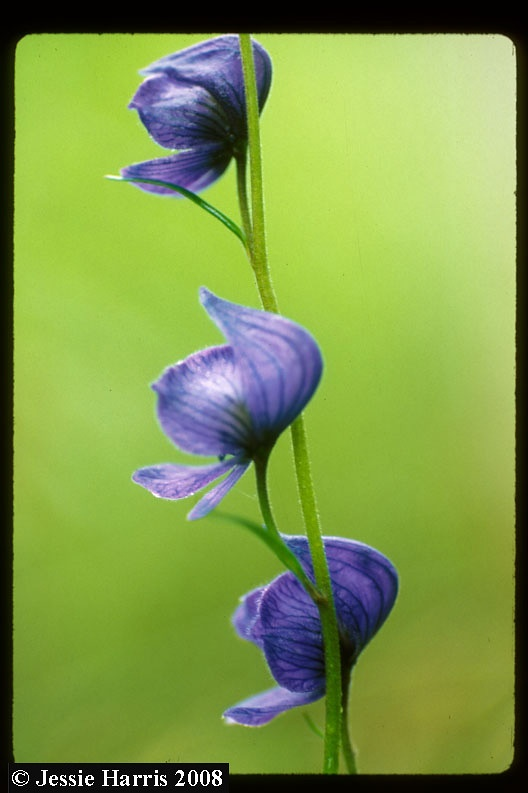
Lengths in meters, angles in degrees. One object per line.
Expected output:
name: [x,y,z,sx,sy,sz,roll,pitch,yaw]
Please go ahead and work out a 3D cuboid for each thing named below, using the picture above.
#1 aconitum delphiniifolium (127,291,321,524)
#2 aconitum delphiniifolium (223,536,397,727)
aconitum delphiniifolium: [-0.025,0.002,0.460,0.118,0.128,0.061,-6,1,4]
aconitum delphiniifolium: [0.026,0.157,0.538,0.122,0.124,0.067,-6,0,42]
